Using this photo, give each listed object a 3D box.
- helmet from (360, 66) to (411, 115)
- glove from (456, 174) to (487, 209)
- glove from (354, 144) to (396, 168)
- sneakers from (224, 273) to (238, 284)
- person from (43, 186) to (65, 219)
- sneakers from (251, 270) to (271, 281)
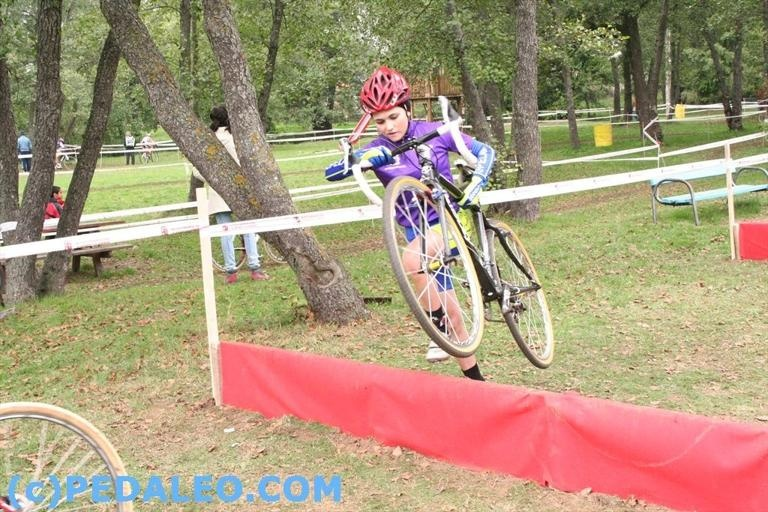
[{"bbox_3d":[0.015,-1.766,8.584,0.430,0.310,0.581,-2,34,20],"label":"helmet"},{"bbox_3d":[0.954,-0.702,8.586,0.223,0.369,0.144,25,-14,-20],"label":"glove"},{"bbox_3d":[-0.121,-1.072,8.386,0.357,0.217,0.150,-4,-15,10],"label":"glove"},{"bbox_3d":[-2.688,0.391,13.835,0.129,0.172,0.247,-1,11,-30],"label":"sneakers"},{"bbox_3d":[-7.402,-1.240,17.555,0.382,0.710,1.802,-9,16,-22],"label":"person"},{"bbox_3d":[-2.185,0.339,13.925,0.309,0.131,0.161,-1,5,25],"label":"sneakers"}]
